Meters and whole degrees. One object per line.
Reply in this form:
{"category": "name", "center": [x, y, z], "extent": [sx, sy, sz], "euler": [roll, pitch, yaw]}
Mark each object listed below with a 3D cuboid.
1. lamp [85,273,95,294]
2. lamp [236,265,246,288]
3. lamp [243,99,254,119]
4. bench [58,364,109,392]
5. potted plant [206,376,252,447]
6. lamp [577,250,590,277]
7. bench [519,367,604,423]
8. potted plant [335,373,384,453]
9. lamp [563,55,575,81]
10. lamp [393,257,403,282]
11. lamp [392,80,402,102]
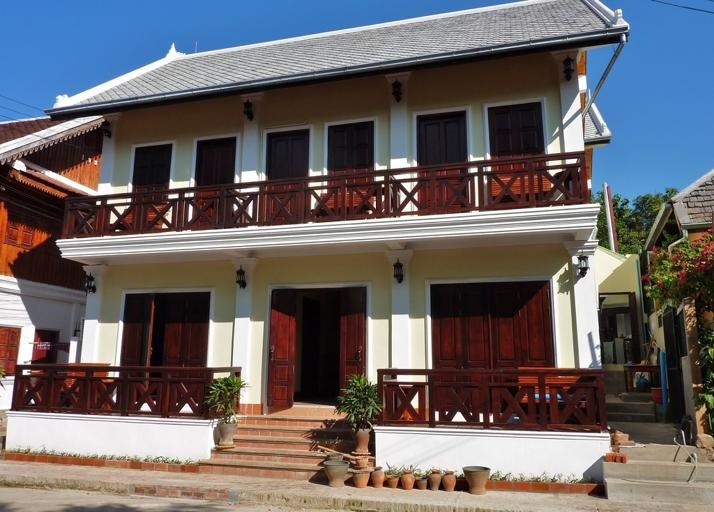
{"category": "lamp", "center": [-6.851, 0.681, 14.260], "extent": [0.262, 0.510, 0.212], "euler": [-2, -15, 7]}
{"category": "lamp", "center": [-2.809, 0.503, 13.418], "extent": [0.255, 0.510, 0.221], "euler": [1, -15, -3]}
{"category": "lamp", "center": [-2.758, -3.701, 14.034], "extent": [0.258, 0.500, 0.211], "euler": [-2, -15, 5]}
{"category": "bench", "center": [-6.225, 2.710, 12.599], "extent": [1.584, 0.600, 0.650], "euler": [-15, -21, 41]}
{"category": "potted plant", "center": [-2.933, 3.351, 12.289], "extent": [1.226, 1.787, 1.133], "euler": [3, -7, -25]}
{"category": "lamp", "center": [4.840, 0.174, 11.860], "extent": [0.248, 0.518, 0.140], "euler": [-7, -16, 25]}
{"category": "bench", "center": [3.954, 2.726, 10.686], "extent": [1.491, 1.145, 1.146], "euler": [-5, -16, 17]}
{"category": "potted plant", "center": [0.074, 3.171, 11.132], "extent": [0.809, 1.537, 0.357], "euler": [0, -15, -2]}
{"category": "lamp", "center": [4.778, -4.224, 12.452], "extent": [0.282, 0.524, 0.165], "euler": [-4, -15, 15]}
{"category": "lamp", "center": [0.945, 0.336, 12.590], "extent": [0.228, 0.525, 0.212], "euler": [-2, -15, 6]}
{"category": "lamp", "center": [0.955, -3.938, 13.164], "extent": [0.238, 0.484, 0.220], "euler": [-2, -15, 7]}
